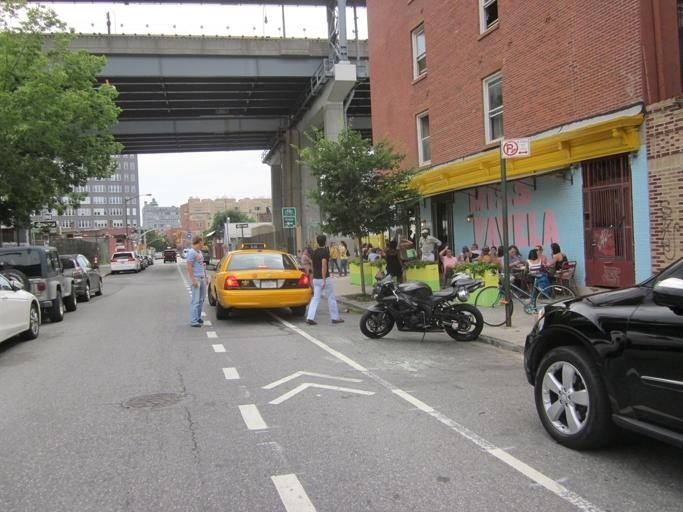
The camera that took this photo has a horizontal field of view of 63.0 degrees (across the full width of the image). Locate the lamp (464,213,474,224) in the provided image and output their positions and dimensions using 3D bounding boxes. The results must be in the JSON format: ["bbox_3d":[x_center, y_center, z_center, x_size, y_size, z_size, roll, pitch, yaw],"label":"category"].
[{"bbox_3d":[4.606,-1.379,20.024,0.251,0.279,0.486,-2,-6,10],"label":"lamp"}]

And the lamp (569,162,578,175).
[{"bbox_3d":[6.106,-2.346,14.860,0.206,0.429,0.225,2,2,-1],"label":"lamp"}]

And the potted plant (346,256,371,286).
[{"bbox_3d":[0.668,0.663,22.547,0.816,1.095,1.546,-1,1,-13],"label":"potted plant"}]

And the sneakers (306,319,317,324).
[{"bbox_3d":[-0.715,1.519,12.914,0.288,0.125,0.098,0,5,-41],"label":"sneakers"}]

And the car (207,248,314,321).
[{"bbox_3d":[-2.081,0.698,14.181,2.180,1.718,2.301,-2,2,-21],"label":"car"}]

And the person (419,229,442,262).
[{"bbox_3d":[3.098,-0.422,19.634,0.598,1.173,2.559,-1,2,9],"label":"person"}]
